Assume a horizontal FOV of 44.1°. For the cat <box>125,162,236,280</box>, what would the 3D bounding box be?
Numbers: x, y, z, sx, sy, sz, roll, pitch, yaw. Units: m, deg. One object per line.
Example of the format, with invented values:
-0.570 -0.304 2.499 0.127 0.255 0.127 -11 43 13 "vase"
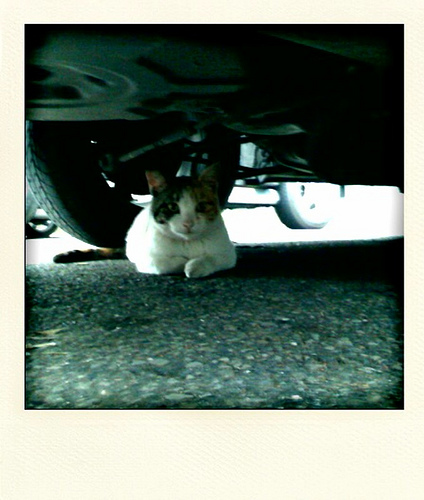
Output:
-0.220 -0.130 2.958 0.547 0.379 0.762 -1 2 -11 "cat"
